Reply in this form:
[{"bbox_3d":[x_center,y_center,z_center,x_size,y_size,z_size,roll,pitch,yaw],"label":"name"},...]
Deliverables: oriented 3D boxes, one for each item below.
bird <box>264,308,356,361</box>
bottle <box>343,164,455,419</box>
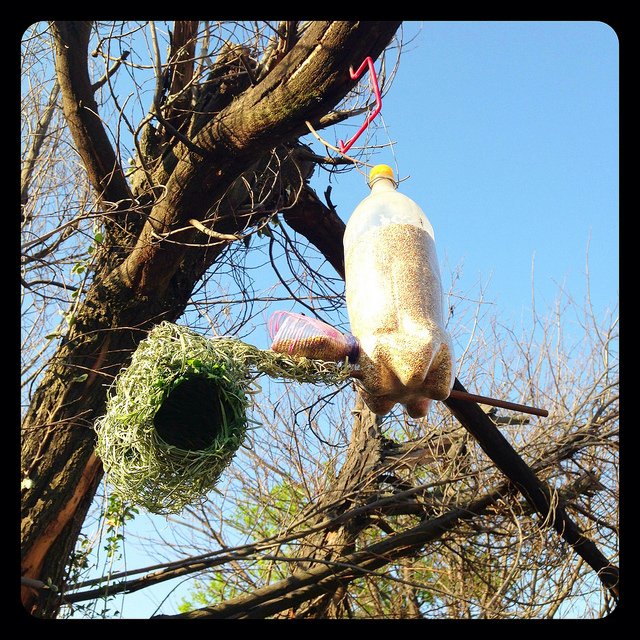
[{"bbox_3d":[-0.028,0.043,3.548,0.229,0.114,0.091,11,10,-3],"label":"bird"},{"bbox_3d":[0.216,-0.115,3.819,0.319,0.792,0.315,-4,-25,-2],"label":"bottle"}]
